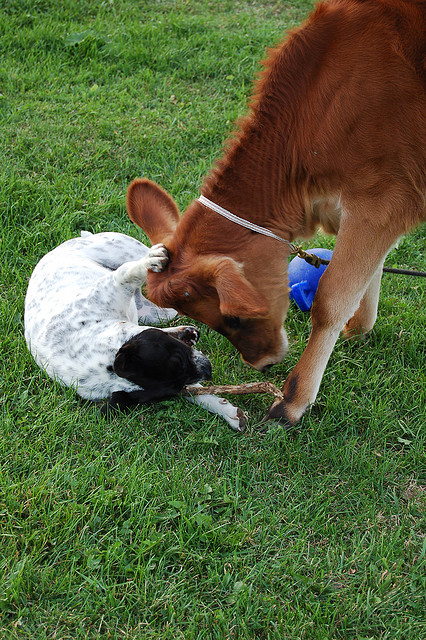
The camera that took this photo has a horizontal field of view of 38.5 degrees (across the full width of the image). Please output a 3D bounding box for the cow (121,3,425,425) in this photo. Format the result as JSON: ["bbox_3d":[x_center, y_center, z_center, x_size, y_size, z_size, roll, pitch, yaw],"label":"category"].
[{"bbox_3d":[0.321,-0.338,2.547,1.134,1.780,0.644,-6,28,-10],"label":"cow"}]
